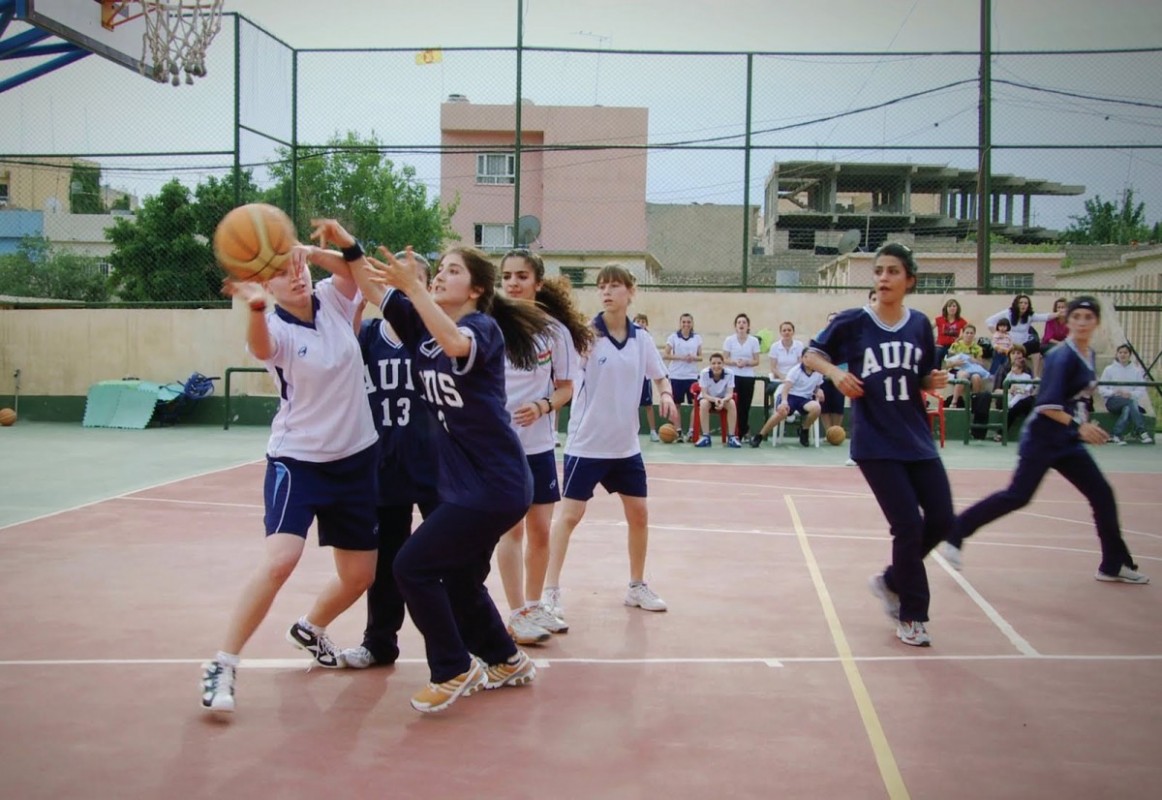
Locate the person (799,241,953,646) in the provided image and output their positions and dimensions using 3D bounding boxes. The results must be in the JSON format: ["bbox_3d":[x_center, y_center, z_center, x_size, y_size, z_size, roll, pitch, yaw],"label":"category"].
[{"bbox_3d":[2.167,0.253,7.320,0.975,2.734,0.839,4,9,22],"label":"person"}]

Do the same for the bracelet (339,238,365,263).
[{"bbox_3d":[-1.413,-0.901,6.303,0.094,0.128,0.129,-35,-13,-35],"label":"bracelet"}]

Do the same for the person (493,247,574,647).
[{"bbox_3d":[-0.317,0.349,7.158,0.667,2.485,0.822,-1,-15,-1],"label":"person"}]

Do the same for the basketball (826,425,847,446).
[{"bbox_3d":[4.256,0.566,17.143,0.287,0.308,0.299,-9,27,25],"label":"basketball"}]

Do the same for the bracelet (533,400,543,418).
[{"bbox_3d":[-0.306,0.052,6.980,0.044,0.073,0.088,-9,31,5],"label":"bracelet"}]

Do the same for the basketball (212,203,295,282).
[{"bbox_3d":[-1.891,-0.884,5.902,0.259,0.490,0.367,5,3,40],"label":"basketball"}]

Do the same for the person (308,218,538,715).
[{"bbox_3d":[-0.931,0.347,6.446,1.389,2.896,1.136,0,0,-9],"label":"person"}]

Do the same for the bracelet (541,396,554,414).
[{"bbox_3d":[-0.246,0.033,7.050,0.085,0.099,0.064,4,5,15],"label":"bracelet"}]
